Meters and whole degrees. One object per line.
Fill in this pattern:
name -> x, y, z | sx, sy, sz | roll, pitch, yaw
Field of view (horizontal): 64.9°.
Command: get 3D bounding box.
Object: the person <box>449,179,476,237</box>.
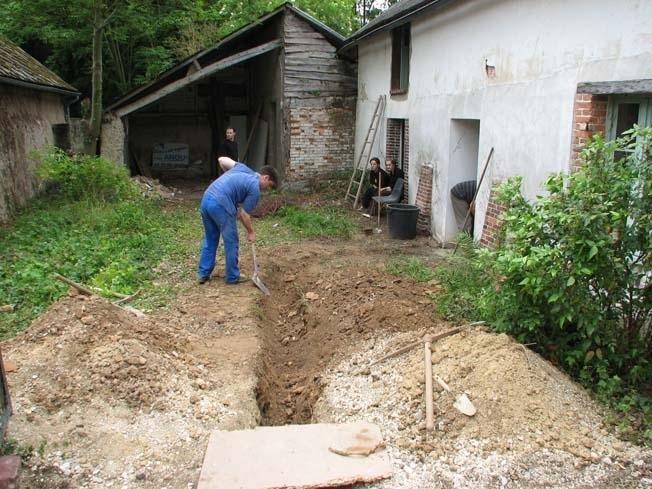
person -> 2.673, -0.686, 9.882 | 0.446, 0.998, 0.990 | 3, 13, 4

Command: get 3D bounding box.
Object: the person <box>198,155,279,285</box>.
person -> -1.455, -0.331, 8.070 | 1.138, 1.824, 0.951 | -2, 13, -15

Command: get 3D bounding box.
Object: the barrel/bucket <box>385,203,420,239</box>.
barrel/bucket -> 1.620, -0.500, 10.964 | 0.722, 0.662, 0.742 | 3, 13, -1

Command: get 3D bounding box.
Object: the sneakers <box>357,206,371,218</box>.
sneakers -> 0.998, -0.818, 13.104 | 0.132, 0.208, 0.473 | 1, -7, -11
